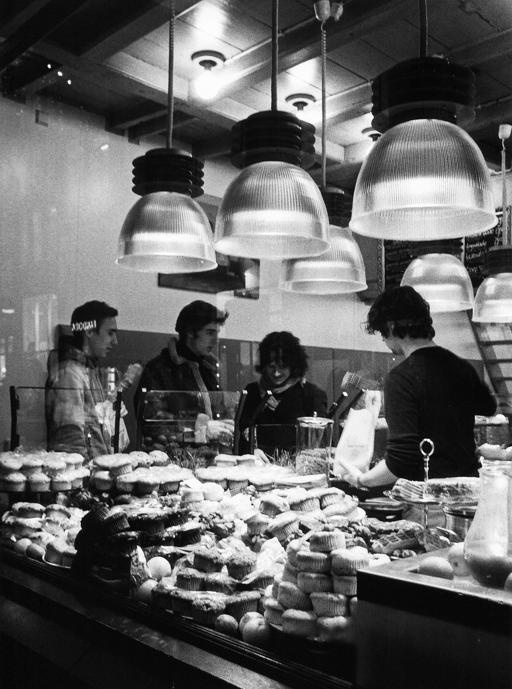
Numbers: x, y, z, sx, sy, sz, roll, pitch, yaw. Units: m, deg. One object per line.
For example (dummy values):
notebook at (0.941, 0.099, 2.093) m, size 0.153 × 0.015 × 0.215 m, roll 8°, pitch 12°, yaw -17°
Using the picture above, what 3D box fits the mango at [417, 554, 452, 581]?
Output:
mango at (0.283, 0.357, 1.405) m, size 0.032 × 0.038 × 0.042 m, roll -26°, pitch -41°, yaw 20°

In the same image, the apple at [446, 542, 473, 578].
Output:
apple at (0.327, 0.353, 1.435) m, size 0.040 × 0.056 × 0.038 m, roll 28°, pitch -20°, yaw -37°

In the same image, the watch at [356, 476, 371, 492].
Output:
watch at (0.265, 0.345, 2.181) m, size 0.023 × 0.028 × 0.025 m, roll 0°, pitch -1°, yaw -24°
